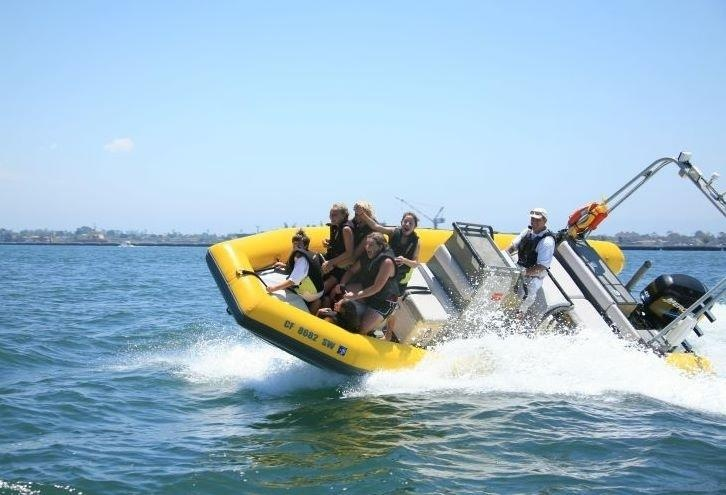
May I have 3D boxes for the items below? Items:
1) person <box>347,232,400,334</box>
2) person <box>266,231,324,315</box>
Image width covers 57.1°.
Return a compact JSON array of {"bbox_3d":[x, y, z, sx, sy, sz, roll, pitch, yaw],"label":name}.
[{"bbox_3d":[0.137,0.469,8.660,0.618,1.306,0.624,4,0,17],"label":"person"},{"bbox_3d":[-0.869,0.301,8.769,0.720,1.051,0.488,4,0,-2],"label":"person"}]
